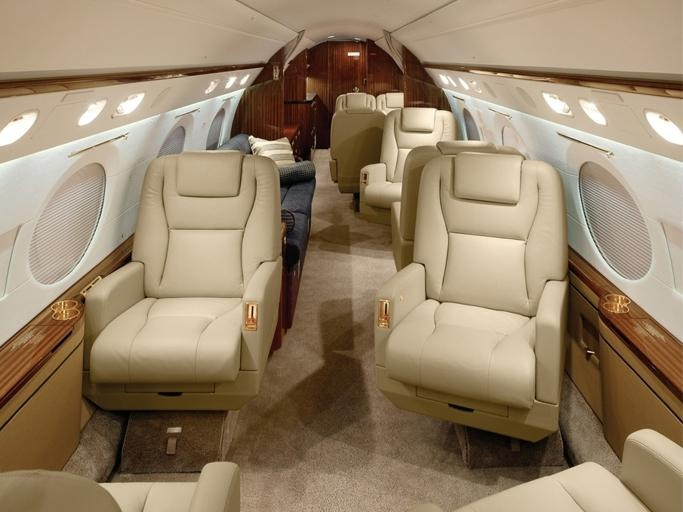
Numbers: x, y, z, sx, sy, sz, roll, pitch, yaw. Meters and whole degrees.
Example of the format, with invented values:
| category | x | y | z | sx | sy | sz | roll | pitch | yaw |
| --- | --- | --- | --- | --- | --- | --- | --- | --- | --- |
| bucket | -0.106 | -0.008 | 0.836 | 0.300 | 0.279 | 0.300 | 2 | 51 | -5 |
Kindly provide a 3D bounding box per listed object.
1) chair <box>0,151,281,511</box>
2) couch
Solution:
| category | x | y | z | sx | sy | sz | roll | pitch | yaw |
| --- | --- | --- | --- | --- | --- | --- | --- | --- | --- |
| chair | -0.697 | 0.288 | 2.344 | 0.923 | 1.310 | 1.767 | 3 | 21 | -5 |
| couch | -0.516 | -0.046 | 3.397 | 0.513 | 0.731 | 1.884 | 0 | 38 | -5 |
